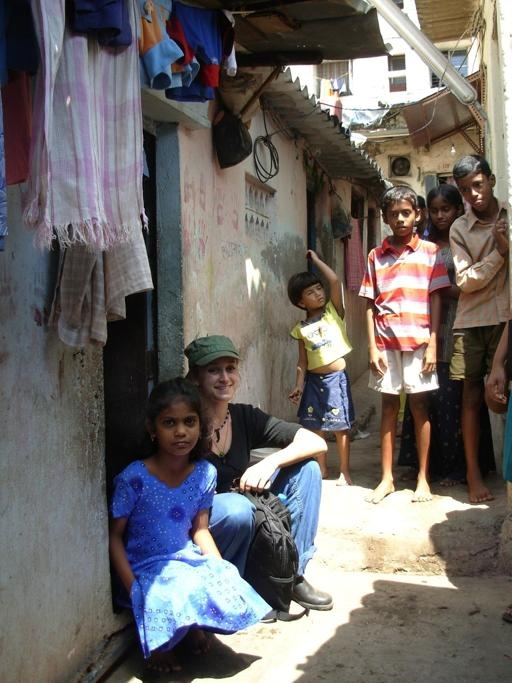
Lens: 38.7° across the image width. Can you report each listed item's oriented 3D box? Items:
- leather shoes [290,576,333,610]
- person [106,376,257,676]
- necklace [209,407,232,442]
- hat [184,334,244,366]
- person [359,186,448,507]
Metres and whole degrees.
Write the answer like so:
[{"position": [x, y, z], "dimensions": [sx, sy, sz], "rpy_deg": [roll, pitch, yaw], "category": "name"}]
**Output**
[{"position": [0.223, 1.036, 3.009], "dimensions": [0.221, 0.142, 0.083], "rpy_deg": [-6, -5, 36], "category": "leather shoes"}, {"position": [-0.272, 0.568, 2.531], "dimensions": [0.437, 0.835, 0.454], "rpy_deg": [-7, 6, -26], "category": "person"}, {"position": [-0.146, 0.349, 2.990], "dimensions": [0.075, 0.113, 0.030], "rpy_deg": [18, 0, 26], "category": "necklace"}, {"position": [-0.201, 0.040, 3.004], "dimensions": [0.130, 0.074, 0.172], "rpy_deg": [-1, -9, -28], "category": "hat"}, {"position": [0.868, -0.001, 4.370], "dimensions": [0.551, 1.850, 0.660], "rpy_deg": [-2, 6, 27], "category": "person"}]
